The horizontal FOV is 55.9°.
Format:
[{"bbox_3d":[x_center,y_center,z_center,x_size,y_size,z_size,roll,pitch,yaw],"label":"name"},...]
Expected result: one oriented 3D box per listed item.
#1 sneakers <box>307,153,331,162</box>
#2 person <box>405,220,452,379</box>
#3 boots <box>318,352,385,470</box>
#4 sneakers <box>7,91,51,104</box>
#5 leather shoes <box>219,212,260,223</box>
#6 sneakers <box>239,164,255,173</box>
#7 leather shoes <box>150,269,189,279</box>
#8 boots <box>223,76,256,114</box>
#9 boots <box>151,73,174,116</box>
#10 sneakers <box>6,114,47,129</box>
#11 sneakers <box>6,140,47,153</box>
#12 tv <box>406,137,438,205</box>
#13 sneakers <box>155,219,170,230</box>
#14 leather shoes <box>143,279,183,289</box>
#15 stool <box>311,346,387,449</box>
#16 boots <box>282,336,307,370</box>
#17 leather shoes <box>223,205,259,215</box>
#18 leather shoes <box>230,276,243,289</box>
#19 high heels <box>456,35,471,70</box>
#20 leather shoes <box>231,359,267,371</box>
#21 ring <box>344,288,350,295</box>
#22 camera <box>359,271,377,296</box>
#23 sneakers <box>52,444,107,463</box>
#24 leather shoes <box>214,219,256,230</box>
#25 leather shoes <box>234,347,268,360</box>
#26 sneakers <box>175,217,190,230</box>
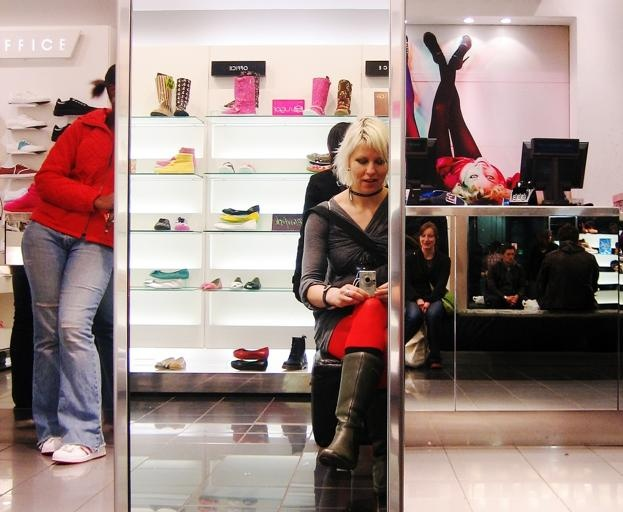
[{"bbox_3d":[0.046,-0.617,3.724,0.159,0.051,0.058,6,7,43],"label":"sneakers"},{"bbox_3d":[0.601,0.208,3.059,0.225,0.771,0.094,3,6,9],"label":"person"},{"bbox_3d":[0.158,0.630,2.388,0.238,0.479,0.114,-3,8,-39],"label":"boots"},{"bbox_3d":[-1.827,-1.010,3.791,0.267,0.093,0.099,-1,5,-7],"label":"sneakers"},{"bbox_3d":[-0.456,-0.235,3.732,0.247,0.073,0.083,3,-1,3],"label":"leather shoes"},{"bbox_3d":[-0.410,-0.550,3.708,0.091,0.049,0.147,0,0,-2],"label":"sneakers"},{"bbox_3d":[-0.890,0.121,3.708,0.241,0.069,0.081,2,-2,-11],"label":"leather shoes"},{"bbox_3d":[-0.469,-1.079,3.912,0.271,0.270,0.223,-9,16,-38],"label":"boots"},{"bbox_3d":[-0.961,-1.042,3.784,0.135,0.308,0.274,0,6,-15],"label":"boots"},{"bbox_3d":[-1.855,-0.862,3.796,0.269,0.104,0.099,-2,1,-9],"label":"sneakers"},{"bbox_3d":[-1.867,-0.707,3.868,0.282,0.105,0.101,0,-3,-3],"label":"sneakers"},{"bbox_3d":[0.665,-0.517,3.599,0.176,0.395,0.091,3,6,10],"label":"tv"},{"bbox_3d":[-0.963,-0.204,3.797,0.103,0.075,0.123,0,6,-13],"label":"sneakers"},{"bbox_3d":[-0.920,0.177,3.666,0.209,0.060,0.078,4,-7,-10],"label":"leather shoes"},{"bbox_3d":[0.171,0.619,2.682,0.340,0.418,0.440,1,-10,7],"label":"stool"},{"bbox_3d":[-0.101,0.609,3.685,0.096,0.170,0.260,-1,5,23],"label":"boots"},{"bbox_3d":[-0.444,-0.276,3.708,0.221,0.065,0.079,2,0,2],"label":"leather shoes"},{"bbox_3d":[-0.477,0.174,3.749,0.062,0.057,0.147,-4,-4,1],"label":"leather shoes"},{"bbox_3d":[1.240,-1.660,4.767,0.096,0.237,0.065,15,17,3],"label":"high heels"},{"bbox_3d":[-0.390,0.689,3.742,0.246,0.093,0.078,6,-11,-1],"label":"leather shoes"},{"bbox_3d":[0.145,0.153,2.476,0.015,0.020,0.007,-7,2,21],"label":"ring"},{"bbox_3d":[0.238,0.113,2.455,0.086,0.100,0.058,1,6,-9],"label":"camera"},{"bbox_3d":[-1.119,0.951,2.857,0.237,0.090,0.094,11,-16,-41],"label":"sneakers"},{"bbox_3d":[-0.466,-0.184,3.691,0.275,0.080,0.091,3,-7,4],"label":"leather shoes"},{"bbox_3d":[-0.377,0.621,3.706,0.211,0.084,0.082,4,-13,2],"label":"leather shoes"},{"bbox_3d":[-0.839,-0.206,3.818,0.093,0.090,0.149,0,6,-13],"label":"sneakers"}]
